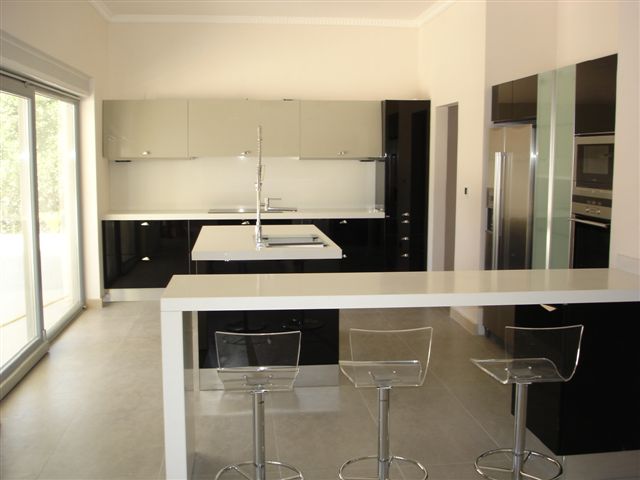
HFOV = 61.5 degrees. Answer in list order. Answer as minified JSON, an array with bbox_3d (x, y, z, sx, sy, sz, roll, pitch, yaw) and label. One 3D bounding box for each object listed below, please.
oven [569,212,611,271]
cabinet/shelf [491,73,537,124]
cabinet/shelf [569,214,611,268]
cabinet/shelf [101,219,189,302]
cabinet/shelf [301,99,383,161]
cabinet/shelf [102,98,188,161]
[{"bbox_3d":[2.059,0.010,4.062,0.313,0.445,0.455,2,6,1],"label":"oven"},{"bbox_3d":[1.751,-1.277,5.034,0.610,0.351,0.178,-12,15,-32],"label":"cabinet/shelf"},{"bbox_3d":[2.116,0.030,4.157,0.323,0.399,0.378,4,-2,-37],"label":"cabinet/shelf"},{"bbox_3d":[-2.090,0.177,6.342,0.970,0.823,0.344,0,7,-4],"label":"cabinet/shelf"},{"bbox_3d":[0.253,-1.433,7.160,1.079,0.727,0.585,-1,3,-4],"label":"cabinet/shelf"},{"bbox_3d":[-2.362,-1.489,6.957,1.167,0.734,0.642,-11,26,-39],"label":"cabinet/shelf"}]
